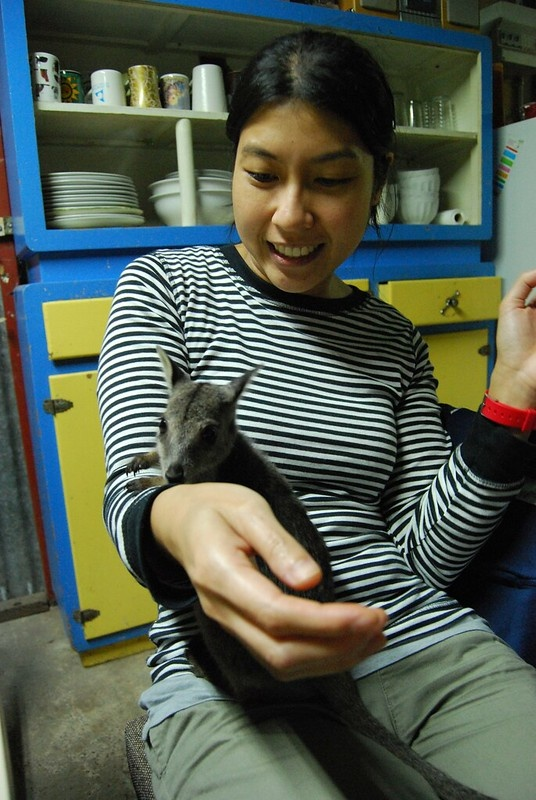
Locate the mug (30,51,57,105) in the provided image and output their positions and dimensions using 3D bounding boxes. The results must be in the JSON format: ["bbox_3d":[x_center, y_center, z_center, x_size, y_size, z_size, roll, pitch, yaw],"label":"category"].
[{"bbox_3d":[-0.727,-1.056,2.132,0.095,0.147,0.065,-7,12,-35],"label":"mug"}]

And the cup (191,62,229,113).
[{"bbox_3d":[-0.220,-1.169,2.481,0.133,0.218,0.220,-1,0,-6],"label":"cup"}]

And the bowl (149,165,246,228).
[{"bbox_3d":[-0.271,-0.755,2.426,0.290,0.143,0.282,-2,-4,0],"label":"bowl"}]

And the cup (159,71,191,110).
[{"bbox_3d":[-0.336,-1.135,2.411,0.105,0.139,0.163,-3,2,-4],"label":"cup"}]

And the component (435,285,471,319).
[{"bbox_3d":[0.843,-0.444,3.009,0.137,0.134,0.130,17,23,-2],"label":"component"}]

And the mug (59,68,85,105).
[{"bbox_3d":[-0.680,-1.083,2.246,0.089,0.114,0.064,-7,12,-34],"label":"mug"}]

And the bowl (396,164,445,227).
[{"bbox_3d":[0.675,-0.920,2.917,0.260,0.287,0.261,-3,18,1],"label":"bowl"}]

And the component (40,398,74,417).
[{"bbox_3d":[-0.685,0.017,2.110,0.094,0.047,0.028,-2,-5,-2],"label":"component"}]

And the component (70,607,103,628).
[{"bbox_3d":[-0.620,0.743,2.205,0.084,0.043,0.037,-2,0,-13],"label":"component"}]
